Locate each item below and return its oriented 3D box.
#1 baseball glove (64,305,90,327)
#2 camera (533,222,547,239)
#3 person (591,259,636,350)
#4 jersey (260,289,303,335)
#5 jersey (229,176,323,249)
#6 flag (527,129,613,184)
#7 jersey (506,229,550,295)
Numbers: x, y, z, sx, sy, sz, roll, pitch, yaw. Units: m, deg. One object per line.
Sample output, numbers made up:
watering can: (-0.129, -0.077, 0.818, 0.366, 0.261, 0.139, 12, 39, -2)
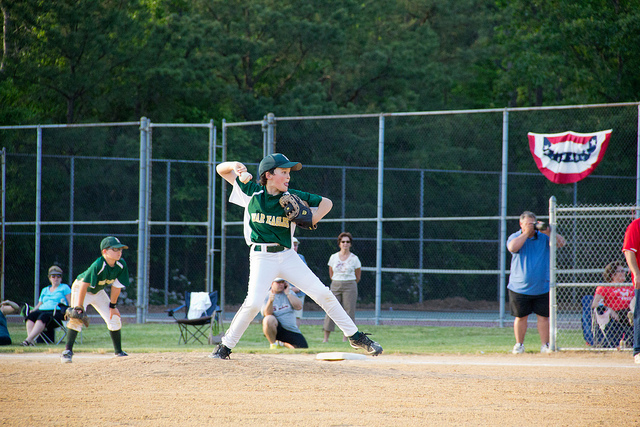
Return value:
baseball glove: (-6.217, 2.623, 33.516, 0.432, 0.325, 0.588, 8, 10, -29)
camera: (5.718, 0.433, 34.194, 0.278, 0.417, 0.154, 1, 8, -2)
person: (7.784, 2.417, 34.361, 0.973, 2.429, 0.977, -1, -2, -2)
jersey: (-0.983, 2.757, 34.850, 1.073, 1.495, 0.835, -7, -5, -19)
jersey: (-1.157, 0.005, 34.485, 2.019, 1.492, 0.458, 10, -18, 0)
flag: (7.314, -1.719, 38.296, 1.921, 1.367, 0.257, 1, 3, 18)
jersey: (5.472, 1.287, 34.137, 1.367, 2.130, 1.128, 1, -13, 4)
